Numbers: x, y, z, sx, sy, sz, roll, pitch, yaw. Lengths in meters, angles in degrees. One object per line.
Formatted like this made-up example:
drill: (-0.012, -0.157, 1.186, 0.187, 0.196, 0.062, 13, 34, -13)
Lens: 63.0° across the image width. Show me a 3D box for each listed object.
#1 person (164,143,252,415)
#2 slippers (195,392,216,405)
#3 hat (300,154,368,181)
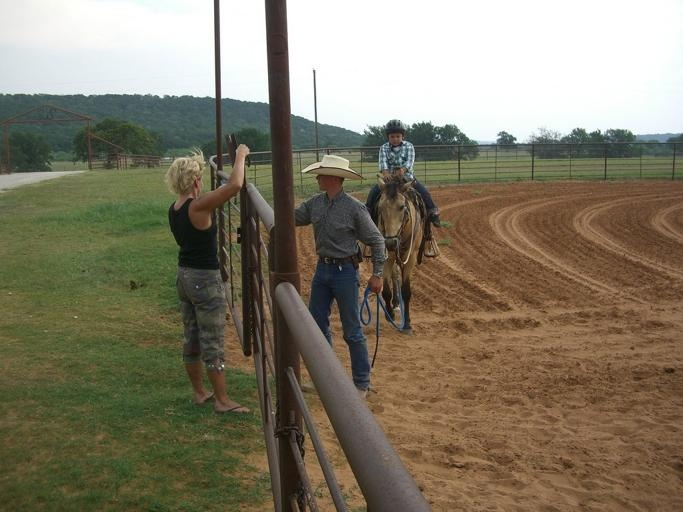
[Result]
person: (-1.282, 0.134, 5.286, 0.475, 2.410, 1.222, -1, 15, -40)
slippers: (-1.272, 1.331, 5.256, 0.070, 0.079, 0.191, 4, 13, 33)
hat: (-0.058, -0.941, 6.017, 0.498, 0.179, 0.366, 2, 8, -10)
